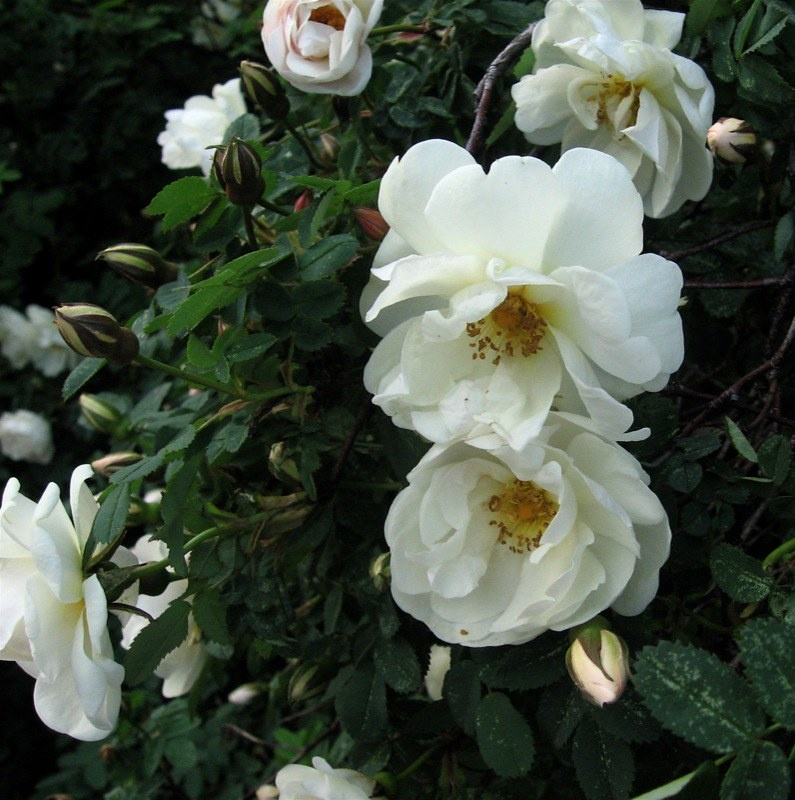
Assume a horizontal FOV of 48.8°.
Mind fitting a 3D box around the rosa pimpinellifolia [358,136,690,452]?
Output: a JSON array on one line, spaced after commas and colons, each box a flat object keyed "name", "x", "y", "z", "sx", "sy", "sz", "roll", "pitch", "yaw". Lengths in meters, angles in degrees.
[{"name": "rosa pimpinellifolia", "x": 0.127, "y": -0.106, "z": 0.974, "sx": 0.384, "sy": 0.186, "sz": 0.335, "roll": 14, "pitch": 75, "yaw": 11}]
